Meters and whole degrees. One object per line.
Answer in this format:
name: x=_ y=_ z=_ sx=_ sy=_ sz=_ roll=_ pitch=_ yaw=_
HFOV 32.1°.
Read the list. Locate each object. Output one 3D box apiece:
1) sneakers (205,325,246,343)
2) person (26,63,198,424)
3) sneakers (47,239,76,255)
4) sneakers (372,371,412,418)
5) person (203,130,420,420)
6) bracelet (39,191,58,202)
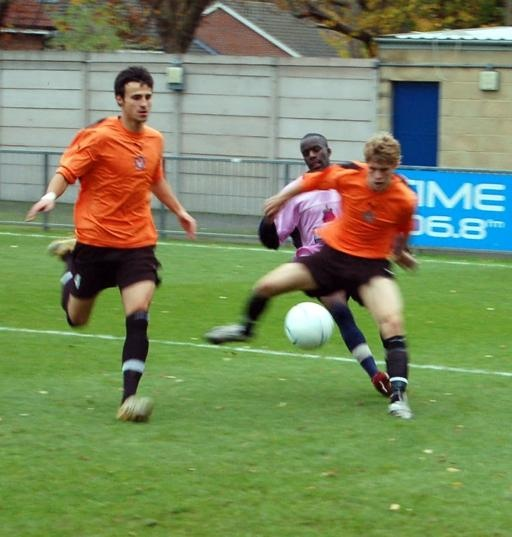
sneakers: x=-0.194 y=0.410 z=5.590 sx=0.252 sy=0.085 sz=0.120 roll=1 pitch=2 yaw=-7
person: x=-0.802 y=-0.167 z=5.003 sx=0.738 sy=1.895 sz=0.955 roll=0 pitch=7 yaw=-4
sneakers: x=-1.253 y=-0.132 z=5.667 sx=0.167 sy=0.068 sz=0.189 roll=-19 pitch=11 yaw=7
sneakers: x=0.763 y=0.717 z=5.098 sx=0.123 sy=0.134 sz=0.300 roll=-10 pitch=36 yaw=-7
person: x=0.533 y=0.004 z=5.288 sx=1.146 sy=1.567 sz=0.536 roll=6 pitch=9 yaw=38
bracelet: x=-1.089 y=-0.374 z=4.650 sx=0.069 sy=0.021 sz=0.071 roll=-26 pitch=16 yaw=-38
